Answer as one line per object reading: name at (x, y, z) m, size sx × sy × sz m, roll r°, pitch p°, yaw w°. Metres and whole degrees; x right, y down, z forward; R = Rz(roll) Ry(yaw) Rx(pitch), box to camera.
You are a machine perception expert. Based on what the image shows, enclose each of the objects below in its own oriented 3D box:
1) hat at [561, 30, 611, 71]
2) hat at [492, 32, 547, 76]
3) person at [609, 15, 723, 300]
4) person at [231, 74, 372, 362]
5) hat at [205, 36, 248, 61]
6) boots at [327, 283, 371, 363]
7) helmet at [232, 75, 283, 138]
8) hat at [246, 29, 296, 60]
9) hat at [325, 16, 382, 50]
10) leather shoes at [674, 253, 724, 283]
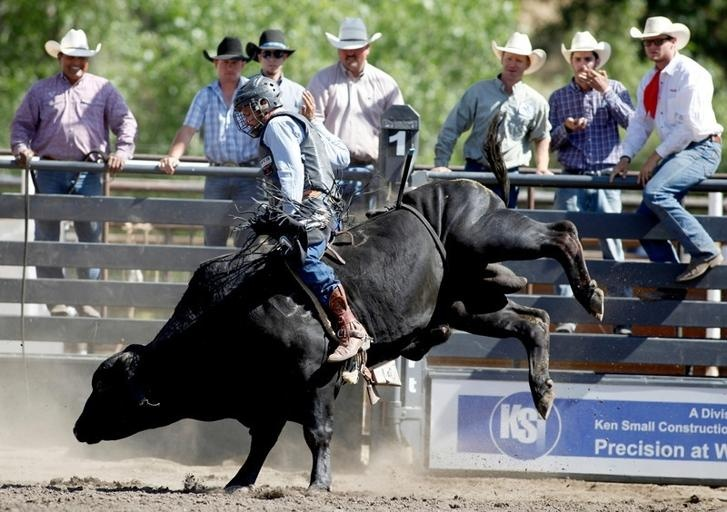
hat at (2.607, -2.496, 20.945) m, size 0.595 × 0.285 × 0.691 m, roll -3°, pitch -4°, yaw 10°
hat at (1.790, -2.420, 20.692) m, size 0.501 × 0.216 × 0.570 m, roll 8°, pitch -6°, yaw 27°
person at (3.490, -1.178, 19.754) m, size 1.163 × 2.859 × 1.013 m, roll 5°, pitch 11°, yaw 7°
person at (-0.580, -0.384, 18.419) m, size 0.917 × 2.860 × 1.510 m, roll -6°, pitch 14°, yaw -42°
hat at (-1.563, -2.470, 20.890) m, size 0.400 × 0.157 × 0.430 m, roll -3°, pitch -4°, yaw 3°
boots at (-0.126, 0.696, 18.214) m, size 0.452 × 0.779 × 0.335 m, roll 3°, pitch 11°, yaw 0°
helmet at (-1.051, -1.567, 18.558) m, size 0.584 × 0.525 × 0.452 m, roll -14°, pitch -3°, yaw -7°
hat at (-1.102, -2.555, 21.016) m, size 0.469 × 0.203 × 0.510 m, roll -1°, pitch -13°, yaw -2°
hat at (-0.113, -2.540, 20.640) m, size 0.525 × 0.231 × 0.588 m, roll -4°, pitch 7°, yaw 6°
leather shoes at (3.694, 0.151, 19.514) m, size 0.544 × 0.213 × 0.222 m, roll -29°, pitch 15°, yaw 11°
